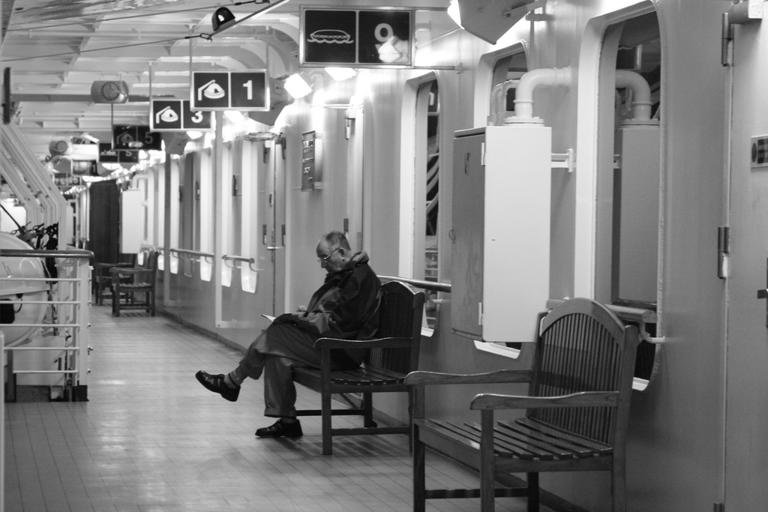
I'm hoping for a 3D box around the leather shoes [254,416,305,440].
[{"bbox_3d":[-0.984,1.569,7.567,0.406,0.180,0.183,2,-3,-5],"label":"leather shoes"}]

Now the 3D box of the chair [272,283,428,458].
[{"bbox_3d":[-0.317,0.924,7.826,0.970,1.411,1.982,2,-1,-11],"label":"chair"}]
